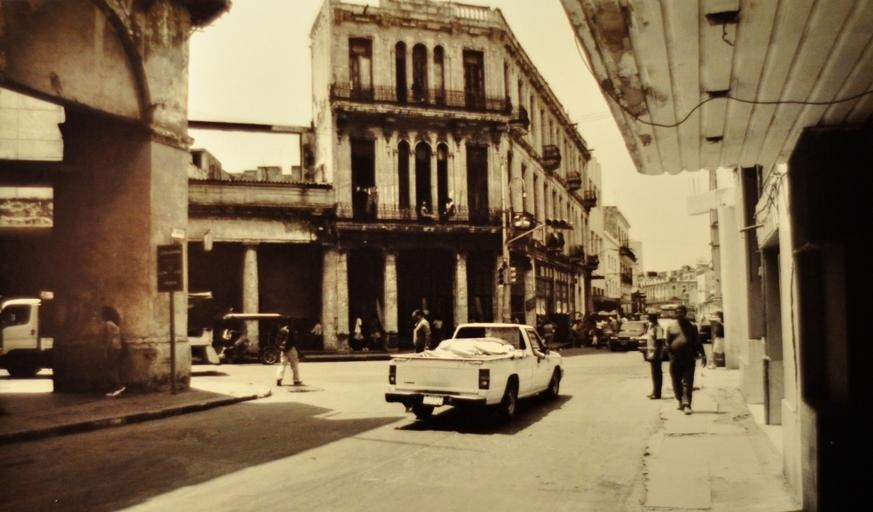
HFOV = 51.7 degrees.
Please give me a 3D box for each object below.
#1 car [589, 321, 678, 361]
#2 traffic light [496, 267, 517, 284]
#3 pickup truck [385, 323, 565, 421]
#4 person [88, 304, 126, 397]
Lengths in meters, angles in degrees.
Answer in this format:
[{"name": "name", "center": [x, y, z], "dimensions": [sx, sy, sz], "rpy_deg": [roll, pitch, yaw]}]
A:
[{"name": "car", "center": [8.364, 3.667, 41.072], "dimensions": [1.802, 1.356, 4.259], "rpy_deg": [-4, -9, 24]}, {"name": "traffic light", "center": [3.343, 0.948, 42.898], "dimensions": [0.897, 0.873, 0.831], "rpy_deg": [1, 0, -2]}, {"name": "pickup truck", "center": [1.320, 2.941, 24.534], "dimensions": [2.980, 2.199, 6.309], "rpy_deg": [0, 0, 30]}, {"name": "person", "center": [-9.226, 2.679, 25.465], "dimensions": [0.753, 2.499, 0.702], "rpy_deg": [-1, -1, -1]}]
